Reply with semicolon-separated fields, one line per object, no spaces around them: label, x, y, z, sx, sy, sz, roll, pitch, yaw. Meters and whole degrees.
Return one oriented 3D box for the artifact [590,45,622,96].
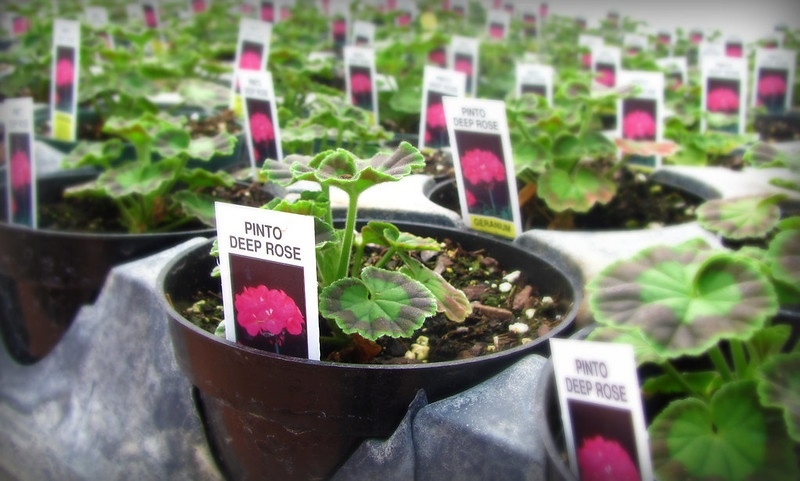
artifact;0.680;-0.581;2.041;0.093;0.126;0.163;5;14;15

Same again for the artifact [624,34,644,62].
artifact;0.715;-0.596;1.874;0.054;0.052;0.013;16;43;27

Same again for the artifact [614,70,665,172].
artifact;0.775;-0.436;1.995;0.154;0.224;0.209;8;15;24

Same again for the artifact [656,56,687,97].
artifact;0.863;-0.524;1.934;0.091;0.097;0.150;11;16;34
